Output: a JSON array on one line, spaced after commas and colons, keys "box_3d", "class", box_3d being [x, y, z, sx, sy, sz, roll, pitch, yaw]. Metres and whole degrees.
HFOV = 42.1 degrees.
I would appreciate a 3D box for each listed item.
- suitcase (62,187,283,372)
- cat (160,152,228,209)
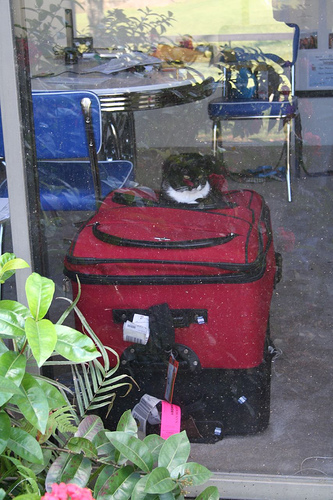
[{"box_3d": [-0.002, 0.077, 1.200, 0.519, 0.365, 0.407, 4, 28, 3], "class": "suitcase"}, {"box_3d": [0.051, -0.154, 1.109, 0.241, 0.094, 0.260, -1, -2, 7], "class": "cat"}]
